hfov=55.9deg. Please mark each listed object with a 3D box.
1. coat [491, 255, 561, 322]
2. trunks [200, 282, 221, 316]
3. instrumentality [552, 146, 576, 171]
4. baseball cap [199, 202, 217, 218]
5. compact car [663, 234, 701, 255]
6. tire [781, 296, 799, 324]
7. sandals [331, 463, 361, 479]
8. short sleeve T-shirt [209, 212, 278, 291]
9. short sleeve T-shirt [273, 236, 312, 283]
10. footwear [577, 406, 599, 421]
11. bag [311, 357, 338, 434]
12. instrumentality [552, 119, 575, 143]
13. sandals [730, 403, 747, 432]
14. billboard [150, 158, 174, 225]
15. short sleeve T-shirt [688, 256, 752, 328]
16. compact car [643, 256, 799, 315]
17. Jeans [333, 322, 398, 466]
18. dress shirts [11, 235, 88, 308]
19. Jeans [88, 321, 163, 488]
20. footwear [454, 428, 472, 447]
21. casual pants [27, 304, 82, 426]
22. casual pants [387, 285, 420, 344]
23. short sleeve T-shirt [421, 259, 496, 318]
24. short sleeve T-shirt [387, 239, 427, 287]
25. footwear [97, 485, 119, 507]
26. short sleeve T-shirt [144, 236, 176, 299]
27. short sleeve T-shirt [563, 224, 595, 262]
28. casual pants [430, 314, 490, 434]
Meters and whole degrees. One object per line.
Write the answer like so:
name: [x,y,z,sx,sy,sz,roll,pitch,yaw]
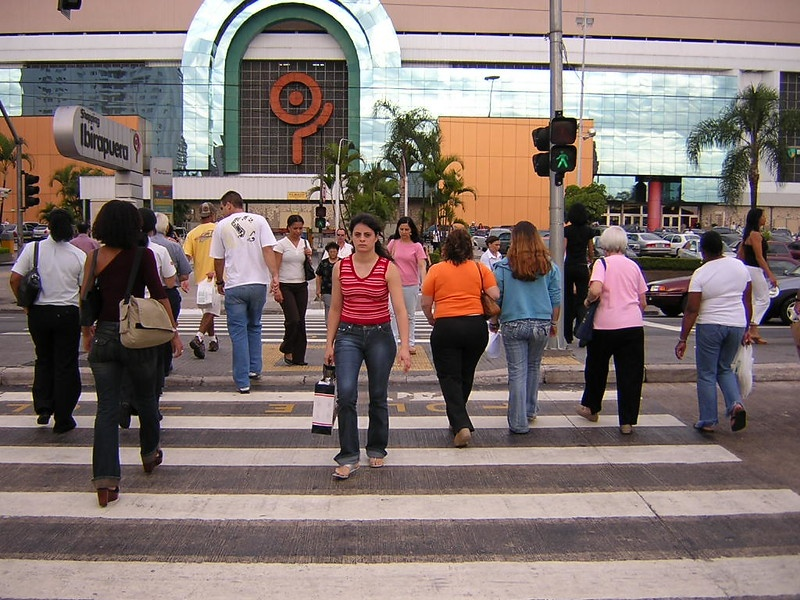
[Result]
coat: [1.355,-0.108,8.126,0.754,0.767,0.460,-4,16,0]
trunks: [-2.712,-0.038,10.759,0.172,0.467,0.460,-1,-1,1]
instrumentality: [2.463,-2.106,11.319,0.361,0.409,0.371,0,2,1]
baseball cap: [-2.751,-1.321,10.798,0.190,0.174,0.293,0,18,6]
compact car: [14.246,-2.519,37.981,1.199,0.987,2.841,-1,12,4]
tire: [6.539,0.145,12.637,0.145,0.447,0.423,9,-21,-9]
sandals: [-0.503,1.556,6.820,0.096,0.089,0.261,-2,-3,27]
short sleeve T-shirt: [-1.996,-0.595,9.563,0.944,1.147,0.617,-2,3,8]
short sleeve T-shirt: [-1.551,-0.564,10.718,0.643,0.679,0.365,-1,0,-35]
footwear: [2.091,1.278,8.360,0.101,0.112,0.267,-10,31,-28]
bag: [-0.689,0.938,6.921,0.213,0.652,0.378,-1,10,-5]
instrumentality: [2.454,-2.551,11.266,0.408,0.409,0.240,0,10,-3]
sandals: [3.506,1.223,7.793,0.131,0.368,0.095,1,3,19]
billboard: [-8.690,-3.858,27.555,0.751,3.665,0.349,1,-40,-21]
short sleeve T-shirt: [3.495,-0.048,8.235,0.716,0.757,0.410,-2,-10,-6]
compact car: [7.839,-0.236,17.754,3.529,1.328,1.541,2,1,5]
Jeans: [-0.354,0.880,7.005,0.681,1.344,0.363,-7,12,-35]
dress shirts: [-3.661,-0.348,8.033,0.829,0.744,0.471,3,31,-23]
Jeans: [-2.414,0.882,6.489,0.417,1.373,0.807,3,10,15]
footwear: [0.623,1.386,7.528,0.106,0.118,0.231,2,-33,-11]
casual pants: [-3.648,0.635,7.943,0.484,1.380,0.413,6,16,-5]
casual pants: [0.143,0.217,12.033,0.314,1.054,0.471,7,-2,-22]
short sleeve T-shirt: [0.617,-0.058,7.841,0.739,0.644,0.427,-3,-18,2]
short sleeve T-shirt: [0.106,-0.519,10.451,0.683,0.750,0.376,0,-2,-1]
footwear: [-2.425,1.626,6.247,0.085,0.116,0.261,0,9,-4]
short sleeve T-shirt: [-2.476,-0.327,7.757,0.240,0.635,0.661,-10,11,-17]
short sleeve T-shirt: [2.941,-0.957,12.467,0.591,0.683,0.378,-1,5,-5]
casual pants: [0.566,0.755,7.717,0.507,1.205,0.543,6,11,31]
